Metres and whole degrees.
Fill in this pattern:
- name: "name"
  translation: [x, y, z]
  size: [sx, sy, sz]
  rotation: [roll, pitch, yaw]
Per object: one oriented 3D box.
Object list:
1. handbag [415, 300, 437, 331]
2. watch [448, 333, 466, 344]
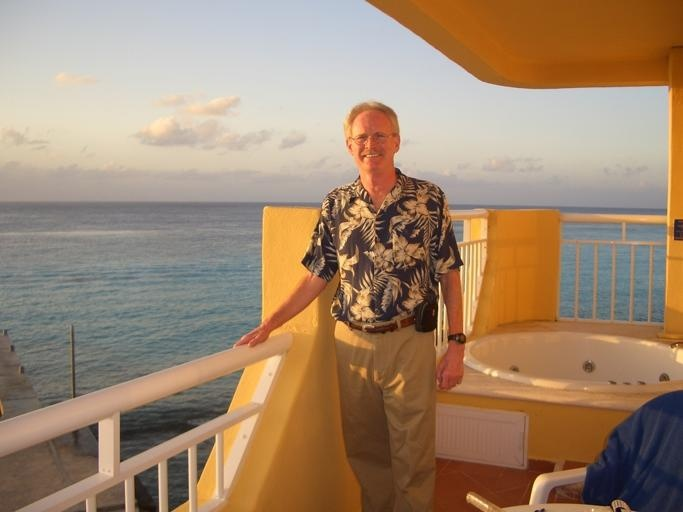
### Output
- name: "handbag"
  translation: [0.430, 0.321, 3.201]
  size: [0.051, 0.131, 0.148]
  rotation: [-3, 10, 33]
- name: "watch"
  translation: [0.623, 0.463, 3.359]
  size: [0.082, 0.055, 0.085]
  rotation: [0, -7, 30]
